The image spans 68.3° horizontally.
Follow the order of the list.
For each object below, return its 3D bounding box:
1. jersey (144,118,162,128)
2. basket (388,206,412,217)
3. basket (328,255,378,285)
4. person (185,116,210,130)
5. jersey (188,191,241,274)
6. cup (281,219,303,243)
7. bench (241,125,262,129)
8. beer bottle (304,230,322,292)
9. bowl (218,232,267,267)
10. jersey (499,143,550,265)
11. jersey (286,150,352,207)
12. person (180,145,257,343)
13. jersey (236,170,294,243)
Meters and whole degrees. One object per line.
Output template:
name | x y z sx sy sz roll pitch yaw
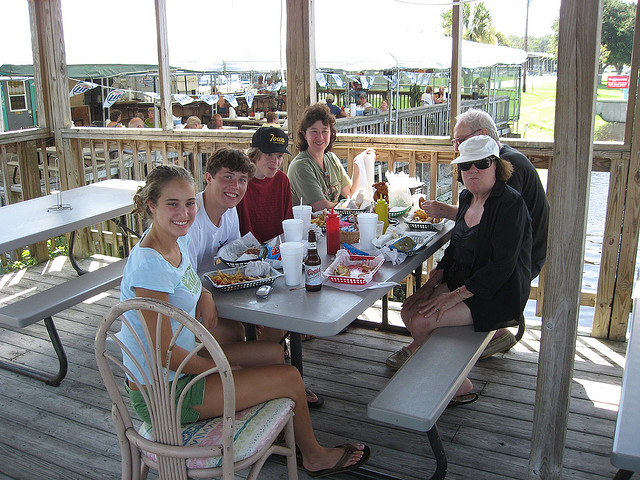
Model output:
jersey | -3.689 -2.582 10.354 0.275 0.188 0.922 -8 17 -19
basket | 0.551 -0.192 3.224 0.205 0.046 0.037 -13 19 -33
basket | 0.168 0.138 2.315 0.166 0.054 0.302 3 17 17
person | -2.498 -2.341 9.427 0.241 0.249 3.513 -6 17 -13
jersey | -0.564 -0.040 2.482 0.145 0.427 0.352 14 17 34
cup | -0.139 -0.053 2.538 0.110 0.126 0.113 0 6 0
bench | -1.537 -2.533 10.508 0.313 0.052 1.267 -7 17 -16
beer bottle | -0.026 0.118 2.148 0.079 0.220 0.104 12 21 41
bowl | -0.415 0.062 2.508 0.170 0.074 0.195 29 39 35
jersey | 1.168 -0.196 2.710 0.302 0.611 0.611 4 41 21
jersey | -0.012 -0.444 3.776 0.339 0.477 0.584 13 22 35
person | -0.535 0.028 2.656 0.524 1.071 0.470 -1 12 14
jersey | -0.396 -0.273 3.159 0.439 0.496 0.255 -5 43 -19
